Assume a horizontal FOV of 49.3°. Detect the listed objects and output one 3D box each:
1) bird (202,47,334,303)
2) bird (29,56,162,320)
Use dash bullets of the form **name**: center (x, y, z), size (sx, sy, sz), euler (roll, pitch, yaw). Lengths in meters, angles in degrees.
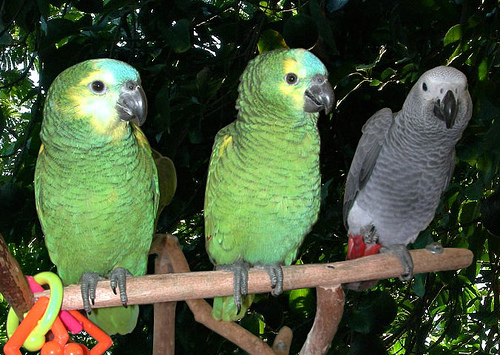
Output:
- **bird**: center (0.056, -0.027, 1.899), size (0.403, 0.882, 0.223), euler (6, 5, -6)
- **bird**: center (-0.516, 0.010, 1.840), size (0.427, 0.801, 0.366), euler (4, 6, -17)
